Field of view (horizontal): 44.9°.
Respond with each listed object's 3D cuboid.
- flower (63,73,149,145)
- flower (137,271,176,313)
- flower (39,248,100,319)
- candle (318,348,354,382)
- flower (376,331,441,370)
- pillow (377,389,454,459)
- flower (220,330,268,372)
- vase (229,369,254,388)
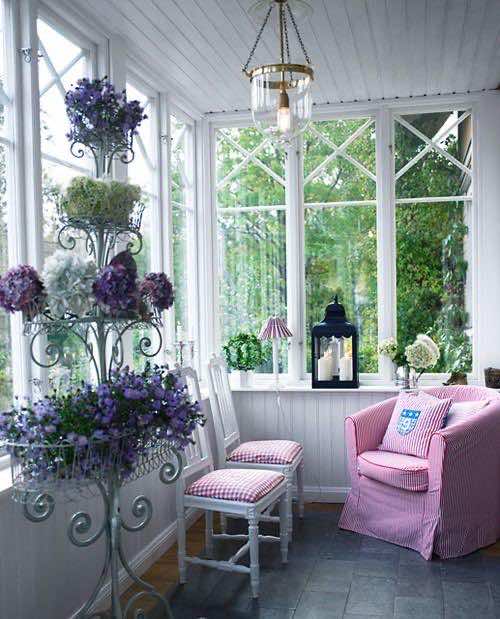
[{"bbox_3d":[-0.465,-0.637,1.952,0.255,0.204,0.187,-3,0,-23],"label":"flower"},{"bbox_3d":[-0.298,-0.062,1.930,0.103,0.120,0.115,1,-2,-7],"label":"flower"},{"bbox_3d":[-0.506,-0.064,1.698,0.170,0.175,0.100,-29,6,-12],"label":"flower"},{"bbox_3d":[0.570,0.375,4.058,0.237,0.198,0.075,-3,0,5],"label":"candle"},{"bbox_3d":[1.035,0.248,3.931,0.304,0.186,0.238,1,31,19],"label":"flower"},{"bbox_3d":[0.930,0.617,3.357,0.101,0.328,0.335,28,-12,-20],"label":"pillow"},{"bbox_3d":[-0.064,0.312,4.308,0.298,0.318,0.249,3,-7,-31],"label":"flower"},{"bbox_3d":[-0.063,0.482,4.254,0.137,0.108,0.126,0,-10,2],"label":"vase"}]
